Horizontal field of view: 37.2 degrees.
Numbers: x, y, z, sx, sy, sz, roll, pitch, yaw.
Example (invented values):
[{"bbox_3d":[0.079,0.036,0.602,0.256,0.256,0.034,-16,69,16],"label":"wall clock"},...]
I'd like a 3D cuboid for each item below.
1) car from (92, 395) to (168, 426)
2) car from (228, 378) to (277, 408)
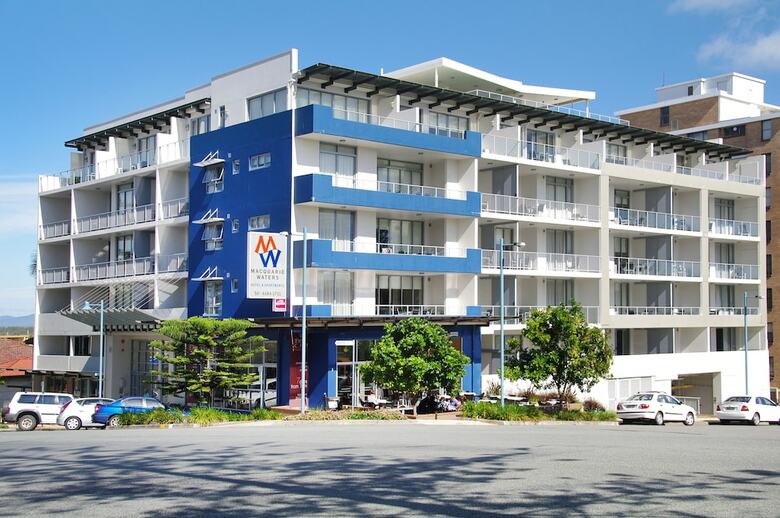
[{"bbox_3d":[-16.895,9.650,73.652,4.948,1.679,1.871,4,-6,-42],"label":"car"},{"bbox_3d":[-9.532,9.463,81.609,3.127,1.681,1.777,2,-12,-5],"label":"car"}]
